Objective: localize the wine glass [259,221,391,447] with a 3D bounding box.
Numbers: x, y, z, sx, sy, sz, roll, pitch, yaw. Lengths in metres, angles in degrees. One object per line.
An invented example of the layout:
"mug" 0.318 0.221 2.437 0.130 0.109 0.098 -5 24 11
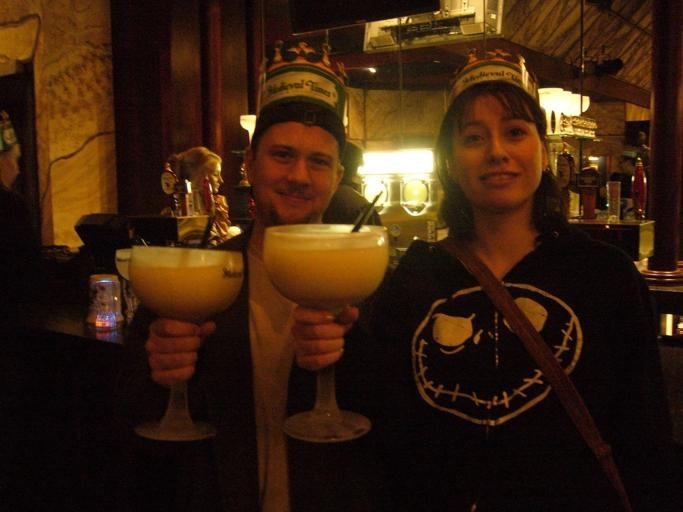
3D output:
"wine glass" -0.059 0.230 1.927 0.350 0.666 0.294 10 10 39

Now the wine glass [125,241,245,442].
"wine glass" -0.502 0.295 1.958 0.295 0.659 0.342 -3 10 -40
